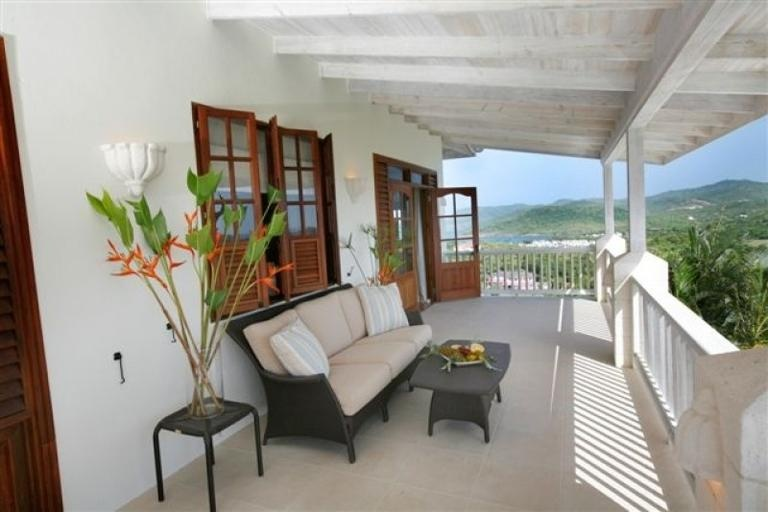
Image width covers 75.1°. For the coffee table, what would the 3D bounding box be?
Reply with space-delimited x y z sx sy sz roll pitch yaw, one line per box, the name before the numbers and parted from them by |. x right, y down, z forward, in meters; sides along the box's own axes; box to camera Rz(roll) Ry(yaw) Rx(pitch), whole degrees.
coffee table | 0.744 1.238 4.706 0.799 0.668 1.013 -1 7 19

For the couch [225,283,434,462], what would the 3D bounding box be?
couch | -0.502 0.451 4.673 1.182 1.138 2.347 2 9 19

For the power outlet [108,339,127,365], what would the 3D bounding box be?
power outlet | -2.041 0.713 3.870 0.021 0.191 0.131 4 10 40

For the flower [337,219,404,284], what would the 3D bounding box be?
flower | -0.161 0.011 7.141 0.411 0.963 0.609 28 45 35

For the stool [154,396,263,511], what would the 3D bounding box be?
stool | -1.393 1.453 4.140 0.791 0.859 0.805 1 3 10

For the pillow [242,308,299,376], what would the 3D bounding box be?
pillow | -1.008 0.791 4.466 0.131 0.441 0.480 -23 -2 39
